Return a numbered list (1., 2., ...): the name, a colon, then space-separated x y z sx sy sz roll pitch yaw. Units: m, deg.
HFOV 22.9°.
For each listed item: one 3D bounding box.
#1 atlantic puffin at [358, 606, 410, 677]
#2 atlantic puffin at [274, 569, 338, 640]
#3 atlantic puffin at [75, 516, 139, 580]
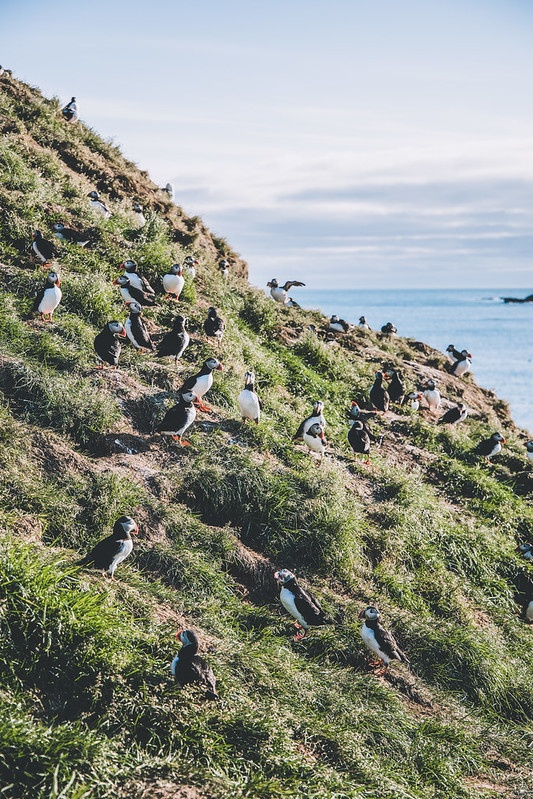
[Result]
1. atlantic puffin: 1.273 2.616 14.436 0.602 0.690 0.314 5 12 11
2. atlantic puffin: 0.394 2.251 14.613 0.658 0.675 0.339 5 12 16
3. atlantic puffin: -1.646 1.528 13.526 0.394 0.605 0.753 8 5 25
